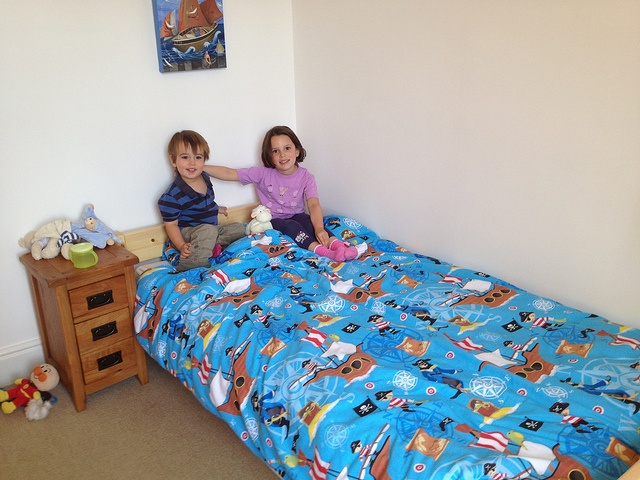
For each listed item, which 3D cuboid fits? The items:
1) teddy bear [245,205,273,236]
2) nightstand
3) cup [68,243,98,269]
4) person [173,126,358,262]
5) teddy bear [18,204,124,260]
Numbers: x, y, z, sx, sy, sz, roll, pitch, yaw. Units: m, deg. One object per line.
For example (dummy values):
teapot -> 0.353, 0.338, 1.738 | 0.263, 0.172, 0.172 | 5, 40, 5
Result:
teddy bear -> -0.337, -0.114, 2.853 | 0.135, 0.168, 0.187 | -7, 8, -39
nightstand -> -1.135, 0.427, 2.423 | 0.544, 0.758, 0.523 | -22, 37, -37
cup -> -1.082, 0.067, 2.342 | 0.141, 0.086, 0.089 | 18, 30, 32
person -> -0.194, -0.286, 2.956 | 0.505, 0.643, 1.160 | -17, 31, -39
teddy bear -> -1.214, -0.028, 2.467 | 0.324, 0.121, 0.330 | 29, 30, 35
